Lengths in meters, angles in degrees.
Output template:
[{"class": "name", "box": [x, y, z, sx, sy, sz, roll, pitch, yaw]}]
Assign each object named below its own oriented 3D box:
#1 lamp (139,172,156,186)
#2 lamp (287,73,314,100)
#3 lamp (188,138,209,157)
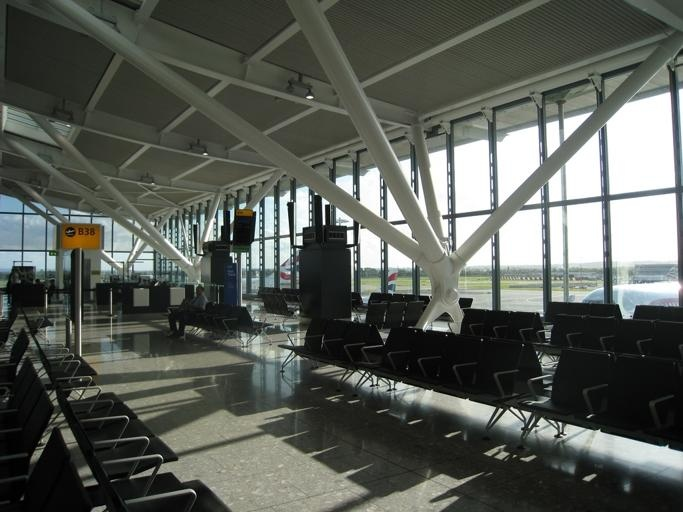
[{"class": "lamp", "box": [-8.943, -3.560, 22.868, 0.565, 0.404, 0.583, -2, -5, 44]}, {"class": "lamp", "box": [-1.037, -4.074, 11.929, 0.686, 0.466, 0.161, 10, -9, -38]}, {"class": "lamp", "box": [-4.951, -3.816, 17.335, 0.300, 0.547, 0.805, 0, 3, 25]}]
